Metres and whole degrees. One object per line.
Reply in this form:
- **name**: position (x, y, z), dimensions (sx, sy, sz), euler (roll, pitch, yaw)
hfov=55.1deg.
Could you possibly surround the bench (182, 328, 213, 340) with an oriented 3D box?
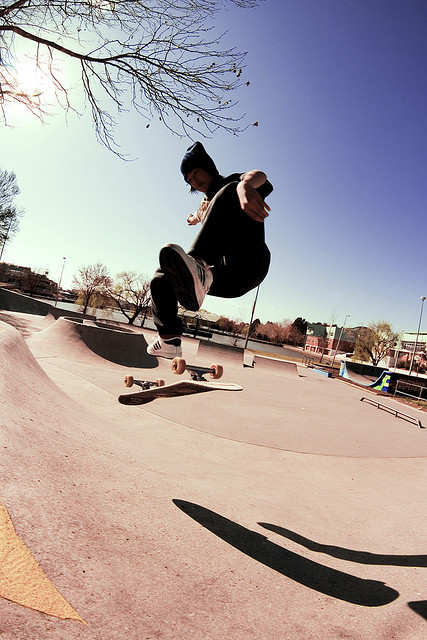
- **bench**: position (-1.474, 1.337, 40.714), dimensions (2.445, 1.035, 7.150), euler (11, 0, -5)
